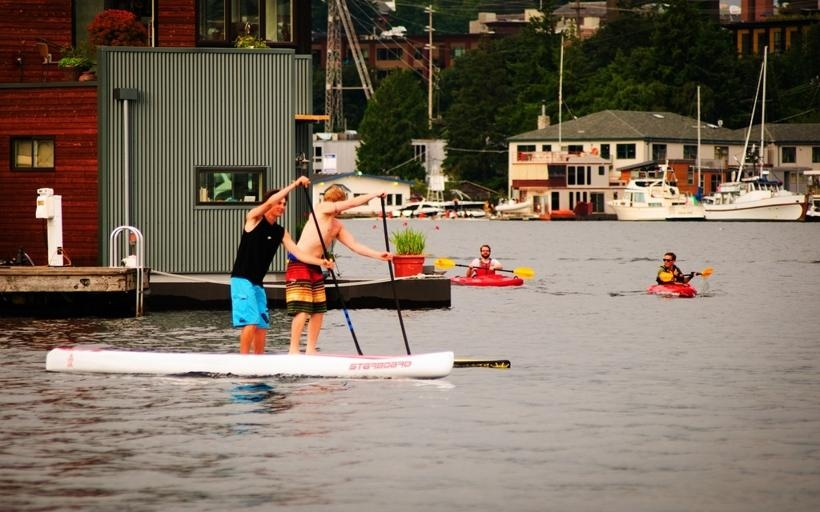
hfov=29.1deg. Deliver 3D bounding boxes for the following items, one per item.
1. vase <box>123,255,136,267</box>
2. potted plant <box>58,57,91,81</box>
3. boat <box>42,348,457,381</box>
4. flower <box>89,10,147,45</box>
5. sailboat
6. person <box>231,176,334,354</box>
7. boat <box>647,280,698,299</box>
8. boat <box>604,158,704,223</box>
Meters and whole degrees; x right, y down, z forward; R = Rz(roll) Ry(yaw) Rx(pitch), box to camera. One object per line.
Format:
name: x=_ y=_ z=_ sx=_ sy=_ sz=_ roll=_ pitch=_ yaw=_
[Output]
vase: x=-7.400 y=0.119 z=41.507 sx=0.356 sy=0.283 sz=0.331 roll=0 pitch=-1 yaw=20
potted plant: x=-9.208 y=-5.122 z=43.434 sx=0.809 sy=0.469 sz=0.738 roll=1 pitch=7 yaw=12
boat: x=-3.616 y=2.369 z=35.150 sx=8.756 sy=0.697 sz=0.361 roll=0 pitch=5 yaw=3
flower: x=-8.092 y=-6.239 z=43.653 sx=1.317 sy=0.897 sz=1.188 roll=-7 pitch=20 yaw=-20
sailboat: x=24.654 y=-9.179 z=114.252 sx=6.430 sy=12.292 sz=35.660 roll=0 pitch=4 yaw=11
person: x=-3.150 y=0.219 z=34.670 sx=1.583 sy=3.907 sz=1.130 roll=-1 pitch=5 yaw=-7
boat: x=7.650 y=0.953 z=46.187 sx=0.793 sy=0.369 sz=1.434 roll=-4 pitch=5 yaw=-43
boat: x=16.740 y=-4.428 z=108.514 sx=6.020 sy=3.839 sz=9.471 roll=0 pitch=4 yaw=3
